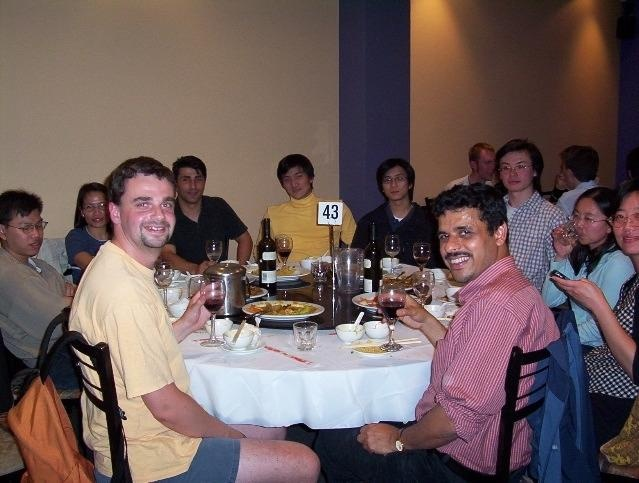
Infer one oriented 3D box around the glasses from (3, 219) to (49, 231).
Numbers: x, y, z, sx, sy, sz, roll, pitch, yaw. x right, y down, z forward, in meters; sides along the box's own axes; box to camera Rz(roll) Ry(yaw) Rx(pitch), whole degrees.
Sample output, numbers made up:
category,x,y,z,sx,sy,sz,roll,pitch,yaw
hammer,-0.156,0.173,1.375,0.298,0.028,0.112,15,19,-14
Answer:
category,x,y,z,sx,sy,sz,roll,pitch,yaw
glasses,-1.730,-0.099,2.949,0.146,0.044,0.148,6,9,24
